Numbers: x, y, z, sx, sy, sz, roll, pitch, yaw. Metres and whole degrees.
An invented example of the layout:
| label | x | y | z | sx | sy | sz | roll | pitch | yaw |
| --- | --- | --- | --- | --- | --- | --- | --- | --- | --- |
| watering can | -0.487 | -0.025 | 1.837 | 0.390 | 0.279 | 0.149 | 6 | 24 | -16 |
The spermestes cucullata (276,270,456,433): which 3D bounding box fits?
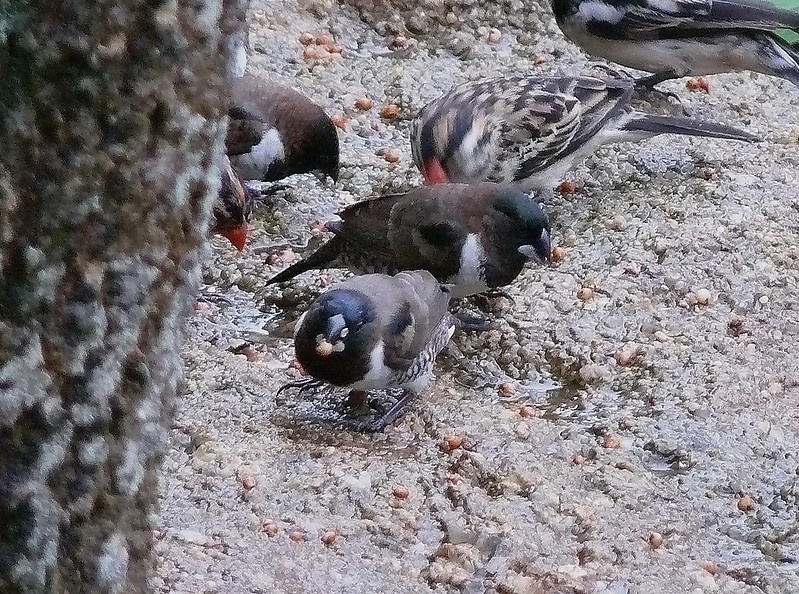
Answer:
| label | x | y | z | sx | sy | sz | roll | pitch | yaw |
| --- | --- | --- | --- | --- | --- | --- | --- | --- | --- |
| spermestes cucullata | -0.089 | 0.189 | 4.320 | 0.459 | 0.425 | 0.799 | 18 | 41 | 16 |
